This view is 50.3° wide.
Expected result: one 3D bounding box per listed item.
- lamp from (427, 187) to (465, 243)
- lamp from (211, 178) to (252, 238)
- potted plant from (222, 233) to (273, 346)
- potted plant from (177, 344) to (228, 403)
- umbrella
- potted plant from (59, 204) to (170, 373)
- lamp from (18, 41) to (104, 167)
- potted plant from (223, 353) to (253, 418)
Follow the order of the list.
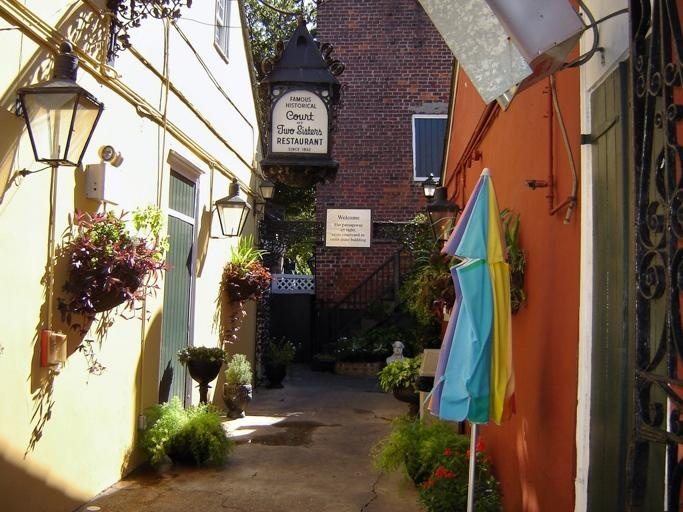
[{"bbox_3d":[1.072,-0.452,7.717,0.433,0.770,0.482,1,4,9],"label":"lamp"},{"bbox_3d":[-1.338,-0.586,8.826,0.390,0.687,0.637,1,-2,-11],"label":"lamp"},{"bbox_3d":[-1.265,0.316,9.636,0.512,1.124,0.598,12,-3,42],"label":"potted plant"},{"bbox_3d":[-1.481,1.366,7.736,0.468,0.736,0.526,-4,-6,24],"label":"potted plant"},{"bbox_3d":[0.837,0.225,4.551,0.534,1.598,0.385,0,-2,1],"label":"umbrella"},{"bbox_3d":[-1.929,0.135,5.799,0.777,1.148,0.961,4,8,8],"label":"potted plant"},{"bbox_3d":[-1.839,-1.028,4.844,0.494,0.815,0.502,-2,-5,39],"label":"lamp"},{"bbox_3d":[-1.253,1.570,8.816,0.292,0.768,0.328,3,-2,2],"label":"potted plant"}]
